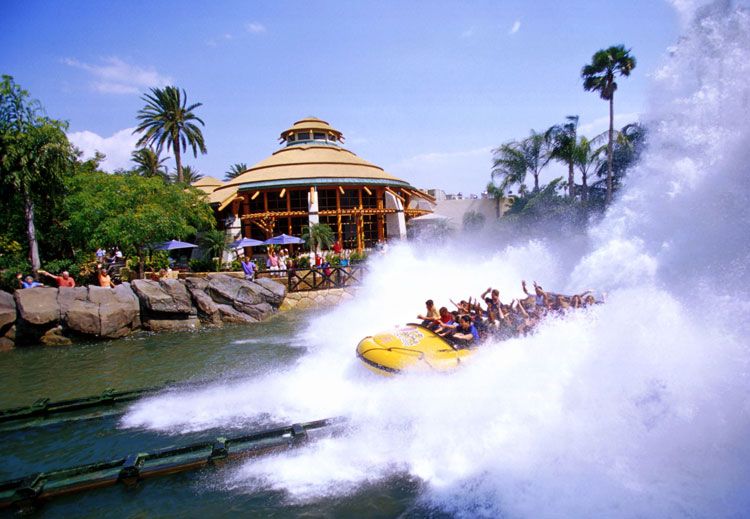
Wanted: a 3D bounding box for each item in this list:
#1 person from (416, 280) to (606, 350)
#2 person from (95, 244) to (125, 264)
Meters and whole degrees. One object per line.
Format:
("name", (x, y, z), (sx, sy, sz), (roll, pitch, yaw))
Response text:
("person", (4.276, 1.743, 15.636), (3.059, 1.019, 0.910), (-16, 9, -17))
("person", (-14.405, -0.262, 27.646), (1.491, 0.967, 0.940), (5, 0, -24))
